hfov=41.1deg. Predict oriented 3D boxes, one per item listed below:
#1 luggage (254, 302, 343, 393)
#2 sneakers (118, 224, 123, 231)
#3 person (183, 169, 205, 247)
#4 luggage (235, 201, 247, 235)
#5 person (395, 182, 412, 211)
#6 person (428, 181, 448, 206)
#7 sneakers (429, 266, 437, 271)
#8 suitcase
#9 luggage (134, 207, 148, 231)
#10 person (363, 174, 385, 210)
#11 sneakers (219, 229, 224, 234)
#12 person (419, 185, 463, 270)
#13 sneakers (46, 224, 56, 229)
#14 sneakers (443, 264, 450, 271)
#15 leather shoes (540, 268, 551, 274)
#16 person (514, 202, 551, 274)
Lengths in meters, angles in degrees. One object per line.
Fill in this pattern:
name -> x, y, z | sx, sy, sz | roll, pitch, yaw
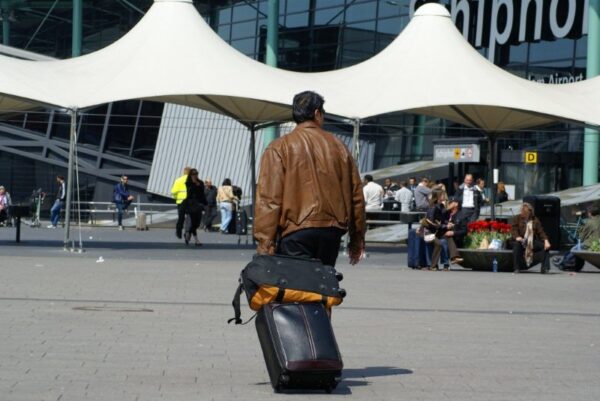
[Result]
luggage -> -0.030, 1.638, 8.890 | 0.721, 1.036, 0.557 | -4, -36, -19
sneakers -> -6.896, 1.082, 30.821 | 0.135, 0.139, 0.232 | -2, -8, -8
person -> -3.054, 0.223, 23.272 | 0.573, 2.234, 1.078 | 1, 3, -8
luggage -> -1.746, 0.676, 24.142 | 0.278, 0.761, 1.054 | 1, 3, -8
person -> 3.604, -0.152, 27.912 | 0.625, 0.998, 0.766 | 1, 3, 6
person -> 3.879, -0.191, 22.822 | 0.365, 0.406, 1.239 | 18, 21, -7
sneakers -> 3.223, 1.655, 19.392 | 0.074, 0.090, 0.205 | 2, -8, -15
suitcase -> -0.089, 1.067, 9.226 | 1.390, 0.858, 0.656 | 9, -34, -25
luggage -> -6.185, 0.838, 31.105 | 0.557, 0.829, 0.545 | 0, -1, -21
person -> 2.364, -0.232, 25.722 | 0.739, 1.419, 0.777 | -9, 43, 1
sneakers -> -2.947, 1.159, 29.822 | 0.111, 0.172, 0.054 | 3, 10, 5
person -> 3.462, 0.762, 19.503 | 1.141, 1.845, 0.634 | 0, 3, -26
sneakers -> -9.725, 1.018, 31.270 | 0.460, 0.214, 0.208 | -1, 1, 34
sneakers -> 3.571, 1.652, 19.599 | 0.140, 0.149, 0.255 | -2, 1, 12
leather shoes -> 5.883, 1.692, 19.229 | 0.258, 0.119, 0.093 | -2, -1, 26
person -> 5.466, 0.910, 19.079 | 0.945, 1.671, 0.556 | 1, 3, -5
